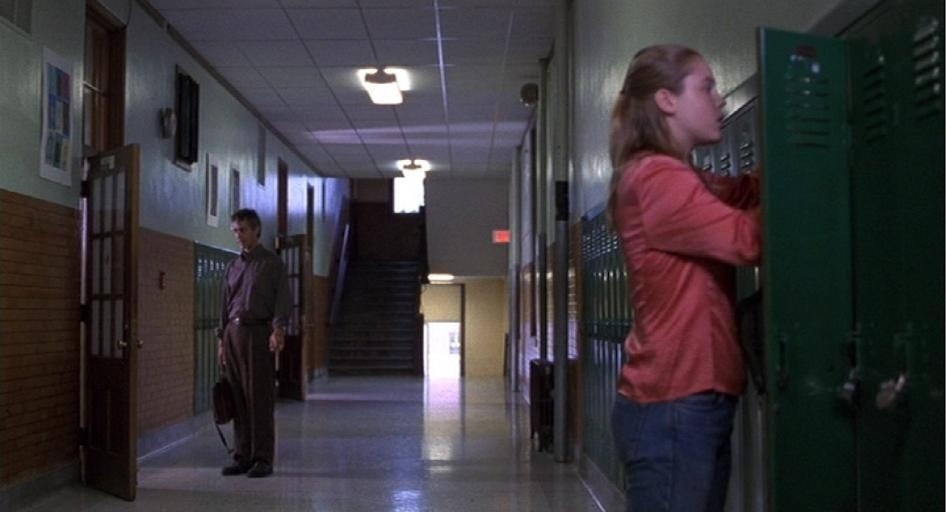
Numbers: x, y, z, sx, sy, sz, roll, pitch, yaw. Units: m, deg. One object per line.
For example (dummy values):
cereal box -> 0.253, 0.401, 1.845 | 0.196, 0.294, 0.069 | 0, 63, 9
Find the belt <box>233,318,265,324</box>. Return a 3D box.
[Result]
belt -> -1.879, 0.554, 5.721 | 0.233, 0.048, 0.061 | -1, -4, 3

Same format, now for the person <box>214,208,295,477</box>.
person -> -1.890, 0.742, 5.820 | 0.708, 2.294, 0.312 | -3, -5, 33
